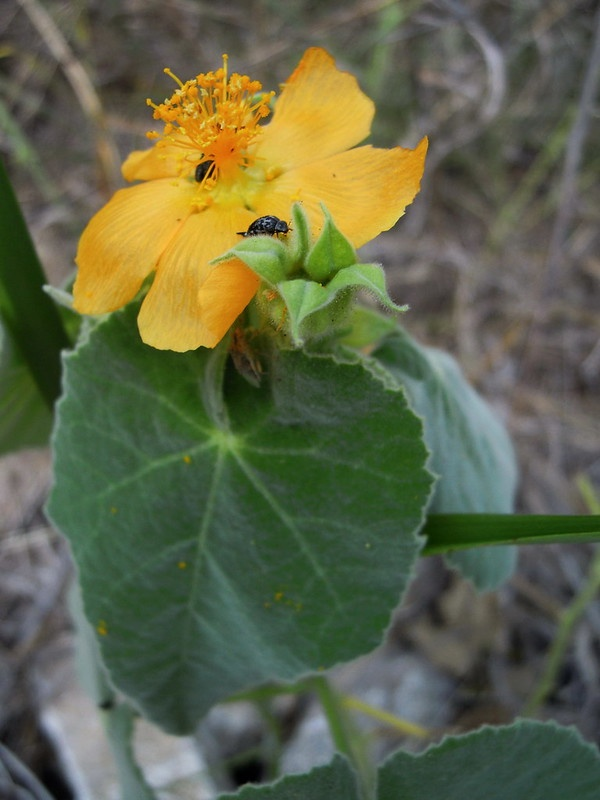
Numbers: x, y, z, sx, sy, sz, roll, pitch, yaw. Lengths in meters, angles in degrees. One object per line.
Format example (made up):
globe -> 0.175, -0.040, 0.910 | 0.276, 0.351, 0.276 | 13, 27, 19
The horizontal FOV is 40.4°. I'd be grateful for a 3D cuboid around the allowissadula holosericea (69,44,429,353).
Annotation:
allowissadula holosericea -> -0.046, -0.149, 0.664 | 0.257, 0.119, 0.279 | -58, 36, -2
